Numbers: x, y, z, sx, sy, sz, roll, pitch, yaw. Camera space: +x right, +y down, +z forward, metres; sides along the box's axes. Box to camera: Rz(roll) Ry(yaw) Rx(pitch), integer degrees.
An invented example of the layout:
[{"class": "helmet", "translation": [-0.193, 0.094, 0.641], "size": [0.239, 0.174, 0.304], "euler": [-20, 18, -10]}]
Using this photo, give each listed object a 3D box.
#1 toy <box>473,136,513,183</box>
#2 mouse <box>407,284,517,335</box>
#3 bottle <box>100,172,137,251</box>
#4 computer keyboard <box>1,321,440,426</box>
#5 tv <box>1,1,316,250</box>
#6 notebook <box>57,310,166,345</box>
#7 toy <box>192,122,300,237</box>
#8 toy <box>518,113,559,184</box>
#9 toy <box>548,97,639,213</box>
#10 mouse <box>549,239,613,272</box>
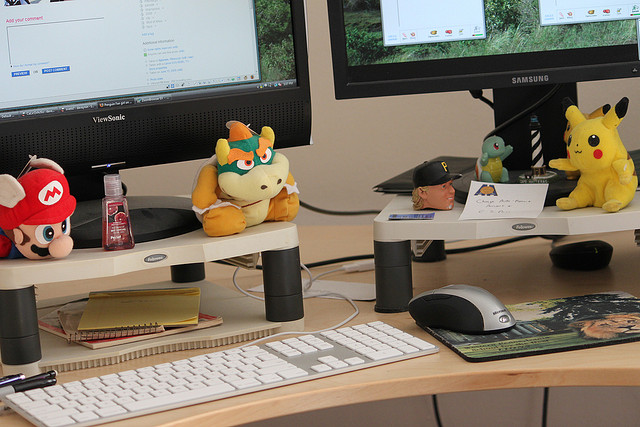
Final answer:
[{"class": "toy", "translation": [0.332, -0.110, 1.066], "size": [0.104, 0.091, 0.093], "euler": [-12, 14, -37]}, {"class": "mouse", "translation": [0.212, 0.133, 0.898], "size": [0.167, 0.066, 0.161], "euler": [-2, 8, -15]}, {"class": "bottle", "translation": [-0.337, -0.006, 0.906], "size": [0.055, 0.113, 0.111], "euler": [-7, 12, -18]}, {"class": "computer keyboard", "translation": [-0.129, 0.228, 0.787], "size": [0.600, 0.043, 0.117], "euler": [-5, 11, -17]}, {"class": "tv", "translation": [-0.294, -0.164, 0.959], "size": [0.571, 0.420, 0.175], "euler": [-2, 9, -10]}, {"class": "notebook", "translation": [-0.344, 0.191, 0.925], "size": [0.156, 0.010, 0.179], "euler": [-6, 12, -30]}, {"class": "toy", "translation": [-0.138, -0.063, 0.968], "size": [0.212, 0.163, 0.197], "euler": [-18, 27, -37]}, {"class": "toy", "translation": [0.425, -0.129, 1.093], "size": [0.093, 0.127, 0.095], "euler": [5, 14, 41]}, {"class": "toy", "translation": [0.478, -0.103, 0.958], "size": [0.129, 0.188, 0.109], "euler": [4, 14, 30]}, {"class": "mouse", "translation": [0.550, 0.081, 1.179], "size": [0.125, 0.045, 0.140], "euler": [-9, 5, -12]}]
